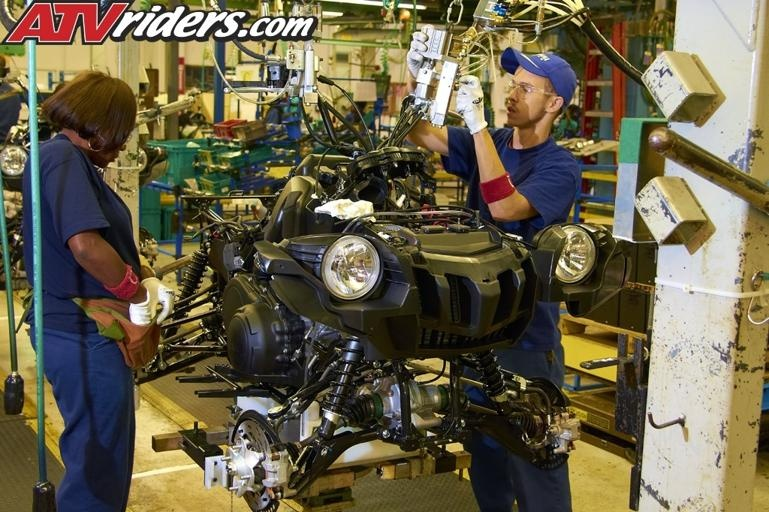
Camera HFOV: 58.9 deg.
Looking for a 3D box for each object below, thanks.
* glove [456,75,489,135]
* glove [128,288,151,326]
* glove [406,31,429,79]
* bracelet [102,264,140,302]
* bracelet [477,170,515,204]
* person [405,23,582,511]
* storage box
[{"bbox_3d":[0.461,-0.811,3.703,0.183,0.303,0.114,-9,7,-19],"label":"glove"},{"bbox_3d":[-1.184,0.270,3.245,0.094,0.160,0.150,1,1,-28],"label":"glove"},{"bbox_3d":[0.167,-1.067,3.600,0.054,0.188,0.130,6,13,-24],"label":"glove"},{"bbox_3d":[-1.251,0.107,3.167,0.150,0.123,0.141,10,-4,15],"label":"bracelet"},{"bbox_3d":[0.595,-0.350,3.597,0.147,0.109,0.156,-19,12,4],"label":"bracelet"},{"bbox_3d":[0.686,0.277,3.933,1.127,2.909,0.765,10,12,41],"label":"person"},{"bbox_3d":[-2.629,-1.411,10.854,2.064,1.375,2.030,-11,15,-42],"label":"storage box"}]
